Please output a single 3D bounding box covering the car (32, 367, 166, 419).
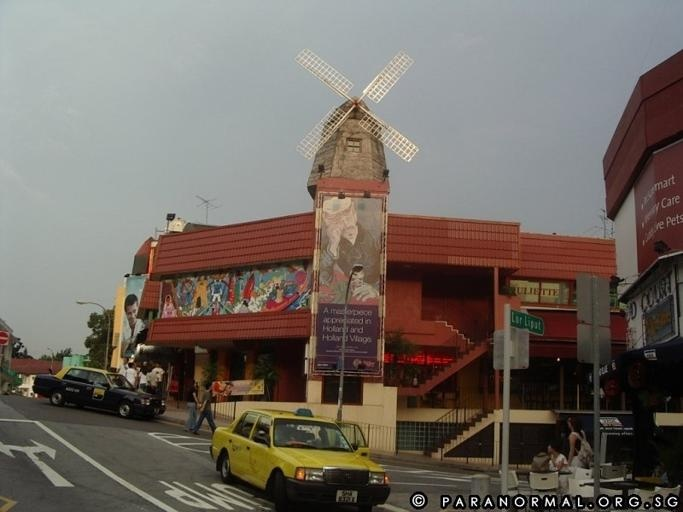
[{"bbox_3d":[-11.502,6.332,31.694,5.525,1.945,2.679,5,-11,11],"label":"car"}]
